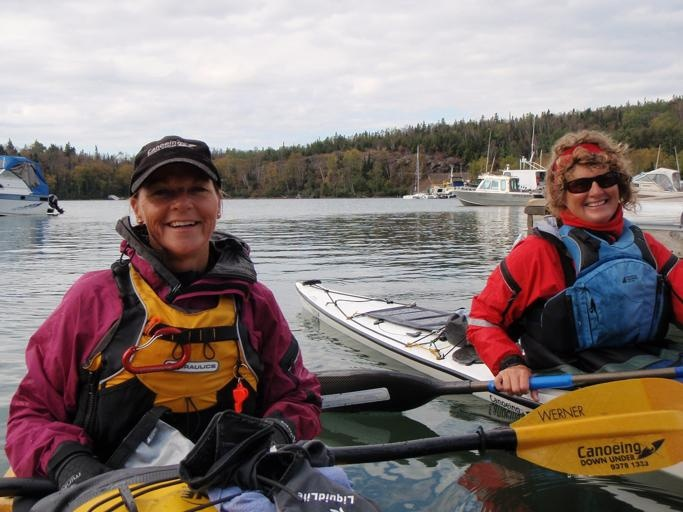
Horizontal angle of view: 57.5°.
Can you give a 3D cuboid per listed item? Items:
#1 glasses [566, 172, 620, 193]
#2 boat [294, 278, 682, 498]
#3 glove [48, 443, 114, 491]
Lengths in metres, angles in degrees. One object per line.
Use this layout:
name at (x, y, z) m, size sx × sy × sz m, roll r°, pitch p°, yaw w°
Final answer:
glasses at (1.693, -0.491, 4.175) m, size 0.359 × 0.134 × 0.150 m, roll 0°, pitch 7°, yaw 13°
boat at (0.496, 0.865, 7.477) m, size 0.974 × 0.628 × 5.090 m, roll -5°, pitch 10°, yaw -34°
glove at (-1.194, 0.930, 2.816) m, size 0.255 × 0.184 × 0.167 m, roll 4°, pitch 9°, yaw 40°
